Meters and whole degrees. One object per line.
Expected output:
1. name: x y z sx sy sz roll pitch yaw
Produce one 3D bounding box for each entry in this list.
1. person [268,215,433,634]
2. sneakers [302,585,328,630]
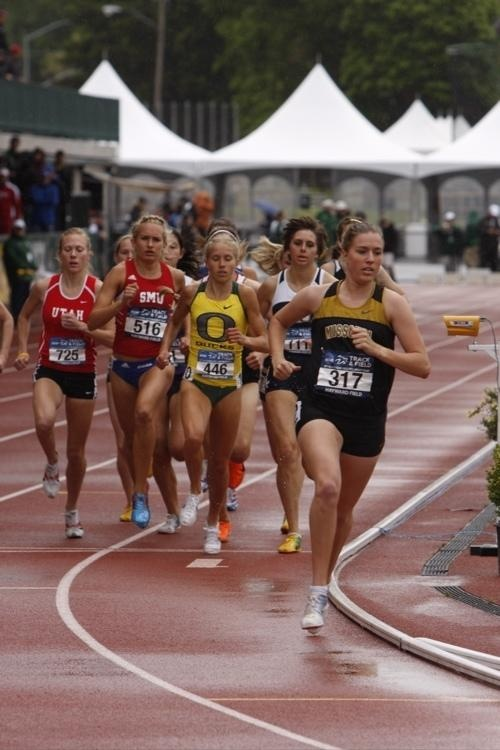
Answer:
1. person: 0.432 0.217 4.280 0.643 1.843 0.882 4 8 -3
2. sneakers: 0.275 0.987 3.962 0.081 0.098 0.230 1 0 10
